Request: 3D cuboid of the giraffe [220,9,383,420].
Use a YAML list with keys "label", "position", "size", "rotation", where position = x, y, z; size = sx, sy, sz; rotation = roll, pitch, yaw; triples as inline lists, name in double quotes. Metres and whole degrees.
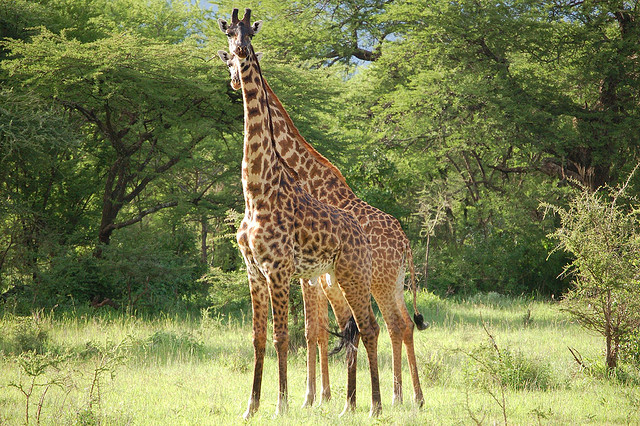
- label: "giraffe"
  position: [-0.735, 0.049, 30.029]
  size: [4.195, 11.378, 1.908]
  rotation: [2, -12, -19]
